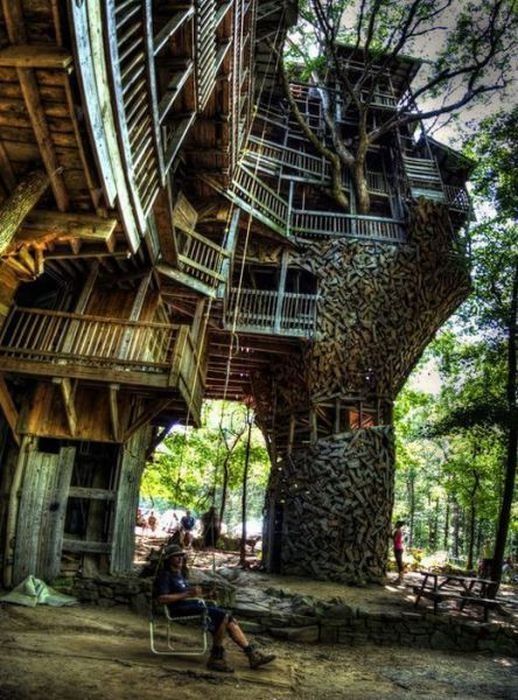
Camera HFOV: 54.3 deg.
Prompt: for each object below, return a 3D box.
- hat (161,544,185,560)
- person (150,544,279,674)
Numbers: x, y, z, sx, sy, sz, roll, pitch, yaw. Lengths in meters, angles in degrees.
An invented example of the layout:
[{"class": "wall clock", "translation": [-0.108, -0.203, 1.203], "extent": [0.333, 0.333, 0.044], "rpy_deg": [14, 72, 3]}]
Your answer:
[{"class": "hat", "translation": [-0.930, 2.248, 5.666], "extent": [0.179, 0.078, 0.207], "rpy_deg": [-8, -18, 30]}, {"class": "person", "translation": [-0.623, 2.878, 5.699], "extent": [1.187, 1.235, 1.203], "rpy_deg": [-3, -19, 28]}]
